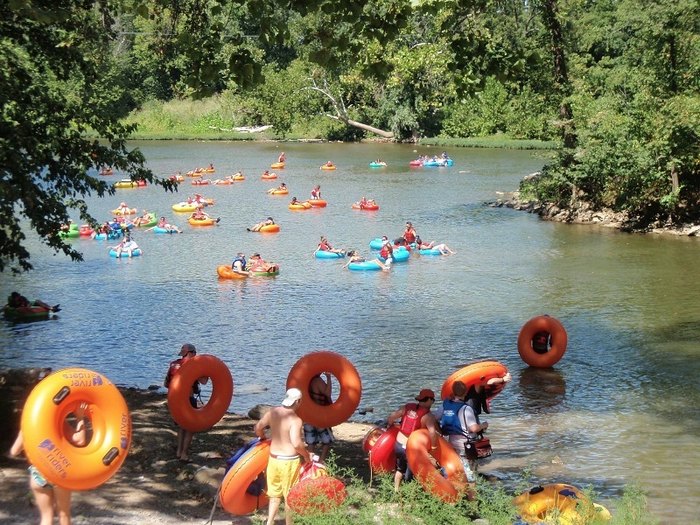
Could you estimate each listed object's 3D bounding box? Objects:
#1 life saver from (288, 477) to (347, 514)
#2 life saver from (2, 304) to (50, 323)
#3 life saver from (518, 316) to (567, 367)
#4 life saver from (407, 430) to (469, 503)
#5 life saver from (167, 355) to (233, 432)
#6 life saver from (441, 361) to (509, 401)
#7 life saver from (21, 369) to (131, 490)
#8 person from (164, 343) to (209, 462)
[{"bbox_3d":[-0.532,3.773,12.768,0.994,0.504,0.391,-3,14,-11],"label":"life saver"},{"bbox_3d":[-10.003,1.589,24.259,1.129,0.308,0.628,-2,-5,3],"label":"life saver"},{"bbox_3d":[4.987,2.033,20.439,1.374,1.272,0.380,4,-1,11],"label":"life saver"},{"bbox_3d":[1.458,3.496,13.493,0.313,1.159,1.126,-40,16,26],"label":"life saver"},{"bbox_3d":[-2.876,2.524,15.100,1.462,1.392,0.386,-25,16,-31],"label":"life saver"},{"bbox_3d":[2.499,2.159,15.305,0.945,0.247,0.963,-36,-22,33],"label":"life saver"},{"bbox_3d":[-4.137,2.490,11.878,1.892,1.792,0.685,27,-22,-23],"label":"life saver"},{"bbox_3d":[-3.243,2.629,15.434,1.068,2.125,0.868,8,7,-41],"label":"person"}]
